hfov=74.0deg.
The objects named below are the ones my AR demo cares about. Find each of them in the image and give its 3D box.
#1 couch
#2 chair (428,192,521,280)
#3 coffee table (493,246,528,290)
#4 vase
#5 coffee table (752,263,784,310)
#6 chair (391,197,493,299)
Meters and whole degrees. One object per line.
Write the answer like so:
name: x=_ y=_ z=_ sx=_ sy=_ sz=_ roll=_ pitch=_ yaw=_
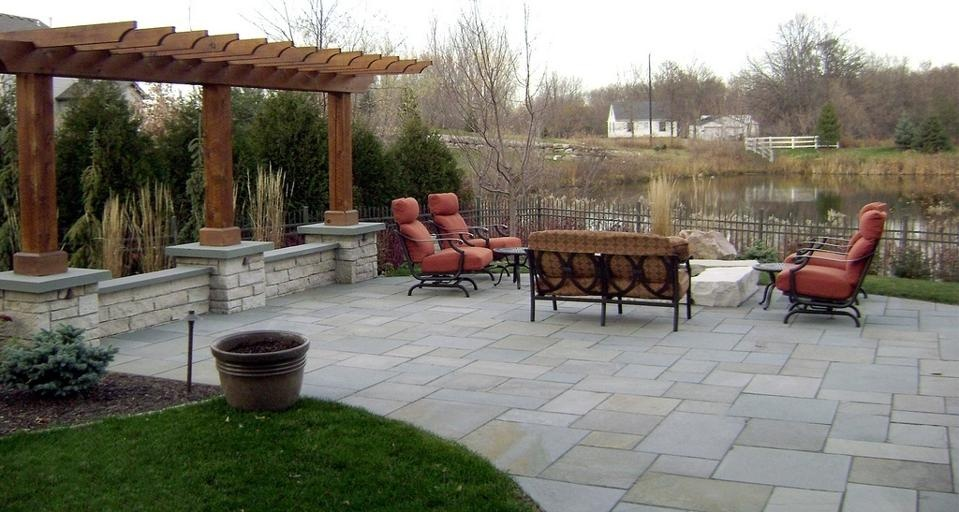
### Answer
couch: x=2.133 y=0.399 z=9.924 sx=2.483 sy=1.348 sz=1.344 roll=2 pitch=-7 yaw=35
chair: x=-0.060 y=-0.421 z=12.405 sx=1.663 sy=1.408 sz=1.085 roll=9 pitch=15 yaw=22
coffee table: x=0.681 y=0.239 z=12.311 sx=0.944 sy=0.580 sz=0.843 roll=-1 pitch=5 yaw=-6
vase: x=-2.519 y=1.318 z=7.306 sx=1.115 sy=0.647 sz=1.030 roll=0 pitch=10 yaw=-25
coffee table: x=4.887 y=0.516 z=10.642 sx=0.584 sy=0.587 sz=0.614 roll=7 pitch=-10 yaw=28
chair: x=-0.811 y=-0.113 z=11.534 sx=2.248 sy=1.997 sz=1.536 roll=1 pitch=4 yaw=10
